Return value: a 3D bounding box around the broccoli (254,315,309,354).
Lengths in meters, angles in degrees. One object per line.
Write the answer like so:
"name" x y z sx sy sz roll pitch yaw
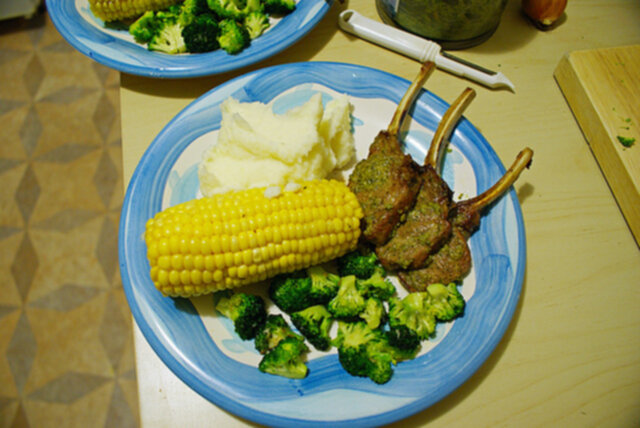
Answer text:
"broccoli" -0.197 0.538 2.676 0.203 0.259 0.163 -5 109 -14

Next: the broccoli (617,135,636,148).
"broccoli" 1.592 -0.373 2.876 0.050 0.024 0.070 -27 70 -10

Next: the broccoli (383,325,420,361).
"broccoli" 0.391 0.600 2.605 0.154 0.065 0.163 -12 79 -4

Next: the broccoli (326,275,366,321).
"broccoli" 0.132 0.404 2.640 0.161 0.081 0.206 2 76 7

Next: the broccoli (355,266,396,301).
"broccoli" 0.262 0.339 2.671 0.162 0.069 0.163 -41 100 -18

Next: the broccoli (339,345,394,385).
"broccoli" 0.214 0.689 2.586 0.270 0.047 0.148 16 79 2

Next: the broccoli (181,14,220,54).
"broccoli" -0.615 -0.933 2.940 0.167 0.200 0.180 2 24 16

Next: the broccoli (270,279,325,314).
"broccoli" -0.121 0.354 2.697 0.226 0.162 0.258 -14 23 -34

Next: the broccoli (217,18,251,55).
"broccoli" -0.454 -0.921 2.900 0.157 0.063 0.186 -29 67 -7

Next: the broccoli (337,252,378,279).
"broccoli" 0.183 0.256 2.682 0.147 0.120 0.079 -12 78 -39

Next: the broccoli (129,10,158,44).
"broccoli" -0.939 -1.011 3.055 0.151 0.178 0.048 38 75 6

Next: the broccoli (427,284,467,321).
"broccoli" 0.598 0.417 2.633 0.161 0.047 0.172 -37 78 3

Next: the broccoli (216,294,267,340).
"broccoli" -0.346 0.453 2.651 0.221 0.276 0.198 -4 109 -8
